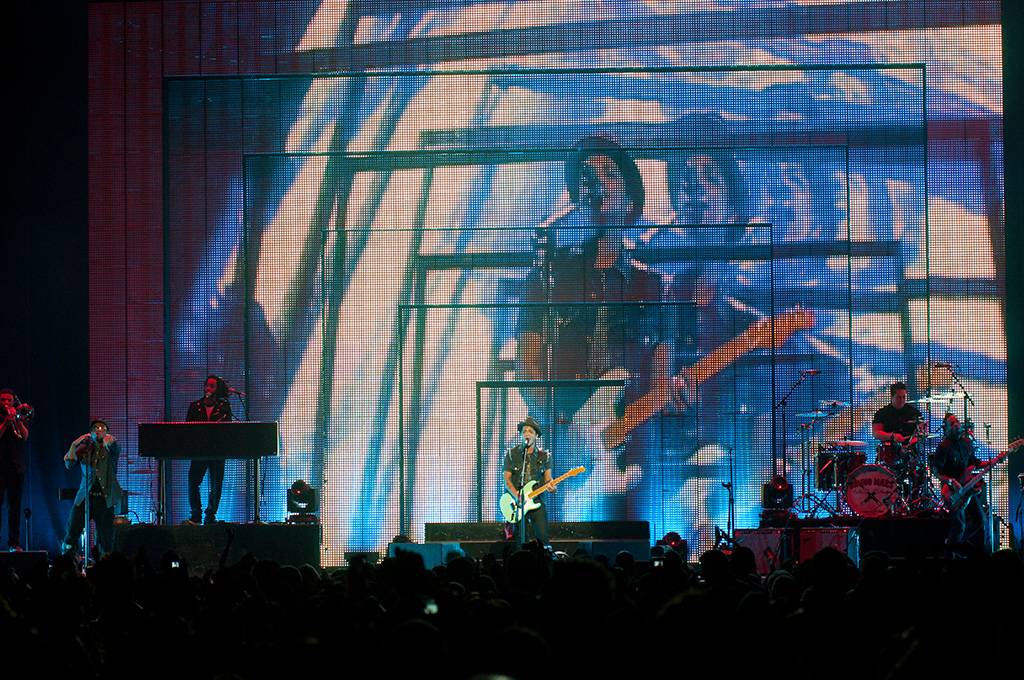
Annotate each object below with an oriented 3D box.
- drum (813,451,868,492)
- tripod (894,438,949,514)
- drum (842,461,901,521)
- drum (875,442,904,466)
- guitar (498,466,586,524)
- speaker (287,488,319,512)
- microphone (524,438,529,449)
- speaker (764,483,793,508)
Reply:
[{"bbox_3d":[4.365,1.694,26.679,0.816,0.593,0.479,0,-9,6],"label":"drum"},{"bbox_3d":[5.282,1.716,26.189,0.645,1.091,0.323,5,-16,-13],"label":"tripod"},{"bbox_3d":[4.617,1.887,26.213,0.788,0.840,0.579,0,1,8],"label":"drum"},{"bbox_3d":[4.930,1.457,26.357,0.286,0.256,0.279,1,-10,-2],"label":"drum"},{"bbox_3d":[0.398,2.002,26.788,0.992,0.804,0.632,8,-17,-21],"label":"guitar"},{"bbox_3d":[-2.733,2.056,26.470,0.309,0.264,0.102,1,1,6],"label":"speaker"},{"bbox_3d":[0.202,1.333,26.793,0.103,0.145,0.044,-1,1,21],"label":"microphone"},{"bbox_3d":[3.499,2.056,26.819,0.509,0.451,0.282,0,-12,5],"label":"speaker"}]
